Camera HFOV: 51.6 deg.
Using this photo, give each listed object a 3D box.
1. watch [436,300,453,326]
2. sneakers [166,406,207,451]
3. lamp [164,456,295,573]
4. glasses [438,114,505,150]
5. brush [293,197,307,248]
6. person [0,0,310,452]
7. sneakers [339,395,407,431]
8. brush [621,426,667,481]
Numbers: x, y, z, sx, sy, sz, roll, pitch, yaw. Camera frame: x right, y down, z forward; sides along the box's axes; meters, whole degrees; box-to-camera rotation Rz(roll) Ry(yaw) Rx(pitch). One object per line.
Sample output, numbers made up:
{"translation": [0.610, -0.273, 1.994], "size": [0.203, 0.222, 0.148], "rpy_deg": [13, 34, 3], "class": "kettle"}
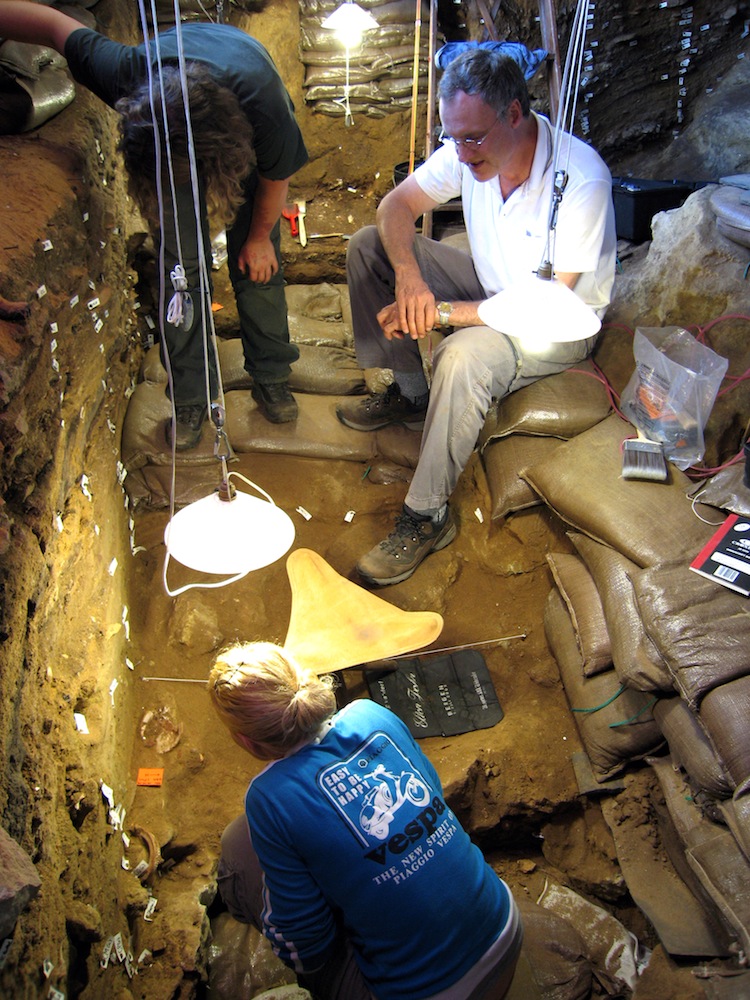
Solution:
{"translation": [0.296, -0.813, 3.361], "size": [0.070, 0.088, 0.085], "rpy_deg": [1, 2, 5], "class": "watch"}
{"translation": [-0.919, -0.345, 3.739], "size": [0.129, 0.204, 0.207], "rpy_deg": [15, 49, -8], "class": "sneakers"}
{"translation": [-0.353, 0.083, 1.878], "size": [0.292, 0.263, 0.227], "rpy_deg": [-9, 22, -23], "class": "lamp"}
{"translation": [0.343, -1.337, 2.836], "size": [0.202, 0.092, 0.110], "rpy_deg": [5, 21, 15], "class": "glasses"}
{"translation": [-0.554, -1.980, 5.571], "size": [0.148, 0.011, 0.486], "rpy_deg": [-5, 50, -1], "class": "brush"}
{"translation": [-0.742, -0.963, 3.117], "size": [0.882, 1.812, 1.481], "rpy_deg": [0, 20, 2], "class": "person"}
{"translation": [-0.018, -0.454, 4.126], "size": [0.407, 0.147, 0.169], "rpy_deg": [-8, -21, -3], "class": "sneakers"}
{"translation": [1.113, -0.160, 3.179], "size": [0.180, 0.139, 0.152], "rpy_deg": [6, 21, 15], "class": "brush"}
